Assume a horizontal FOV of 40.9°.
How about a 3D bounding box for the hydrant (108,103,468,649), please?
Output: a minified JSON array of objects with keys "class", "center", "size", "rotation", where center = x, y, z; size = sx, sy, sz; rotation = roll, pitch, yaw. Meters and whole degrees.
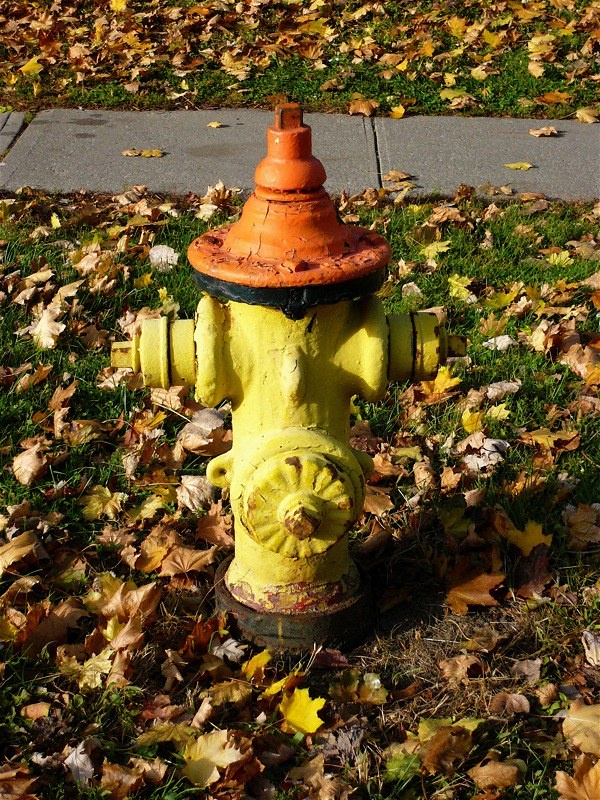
[{"class":"hydrant","center":[-0.037,-0.029,1.938],"size":[0.554,1.274,0.568],"rotation":[-26,30,-38]}]
